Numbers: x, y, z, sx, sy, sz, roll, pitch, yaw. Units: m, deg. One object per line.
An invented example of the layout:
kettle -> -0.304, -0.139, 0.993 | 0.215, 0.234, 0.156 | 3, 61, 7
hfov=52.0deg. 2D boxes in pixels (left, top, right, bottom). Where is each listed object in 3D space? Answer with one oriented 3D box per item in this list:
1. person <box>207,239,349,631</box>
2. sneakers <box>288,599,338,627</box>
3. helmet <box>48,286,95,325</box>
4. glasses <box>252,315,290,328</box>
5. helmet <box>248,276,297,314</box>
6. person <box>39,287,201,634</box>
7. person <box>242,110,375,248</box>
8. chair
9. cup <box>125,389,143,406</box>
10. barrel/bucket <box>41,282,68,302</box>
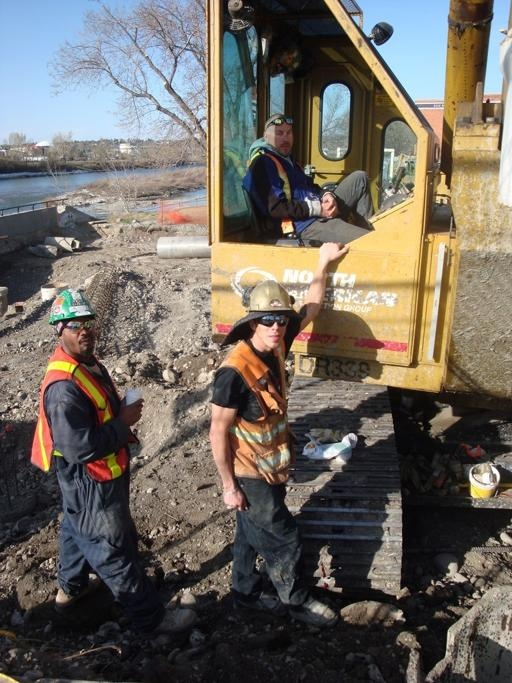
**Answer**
person -> 0.041, 0.546, 2.820 | 0.520, 1.740, 0.889 | -3, 15, -3
sneakers -> 0.300, 1.357, 2.670 | 0.242, 0.097, 0.125 | 3, 32, 31
helmet -> -0.968, -0.175, 2.713 | 0.181, 0.118, 0.226 | -14, 10, -33
glasses -> 0.077, -0.094, 2.504 | 0.147, 0.067, 0.081 | -2, 14, -4
helmet -> 0.063, -0.210, 2.564 | 0.208, 0.151, 0.239 | -1, 14, 3
person -> -0.819, 0.746, 2.831 | 0.640, 2.008, 0.746 | -10, 17, -27
person -> 0.482, -1.189, 4.081 | 1.090, 1.118, 0.728 | 2, 30, 15
chair -> 0.105, -0.872, 3.983 | 0.530, 0.576, 0.412 | -4, 37, 5
cup -> -0.652, 0.301, 2.847 | 0.089, 0.108, 0.093 | 5, 6, -1
barrel/bucket -> -4.414, -1.052, 11.504 | 0.500, 0.285, 0.486 | 2, 22, -1
